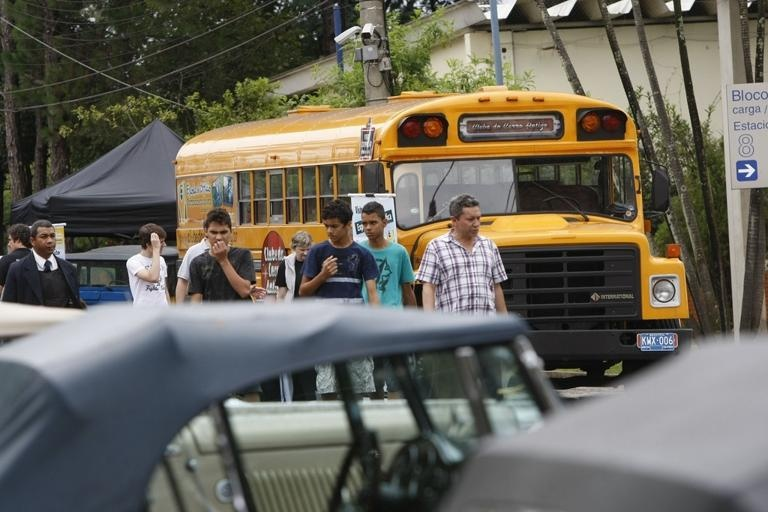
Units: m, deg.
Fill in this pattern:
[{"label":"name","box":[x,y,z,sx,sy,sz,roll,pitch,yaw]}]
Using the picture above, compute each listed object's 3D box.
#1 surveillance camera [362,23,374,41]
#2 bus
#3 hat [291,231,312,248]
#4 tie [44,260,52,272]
[{"label":"surveillance camera","box":[-0.246,-3.657,14.783,0.211,0.310,0.212,-1,3,-2]},{"label":"bus","box":[0.325,-0.520,11.231,3.167,2.756,5.801,-2,-1,-32]},{"label":"hat","box":[-0.823,-0.169,9.272,0.141,0.181,0.180,-2,7,-8]},{"label":"tie","box":[-3.222,0.100,8.775,0.058,0.095,0.023,-7,-14,-5]}]
